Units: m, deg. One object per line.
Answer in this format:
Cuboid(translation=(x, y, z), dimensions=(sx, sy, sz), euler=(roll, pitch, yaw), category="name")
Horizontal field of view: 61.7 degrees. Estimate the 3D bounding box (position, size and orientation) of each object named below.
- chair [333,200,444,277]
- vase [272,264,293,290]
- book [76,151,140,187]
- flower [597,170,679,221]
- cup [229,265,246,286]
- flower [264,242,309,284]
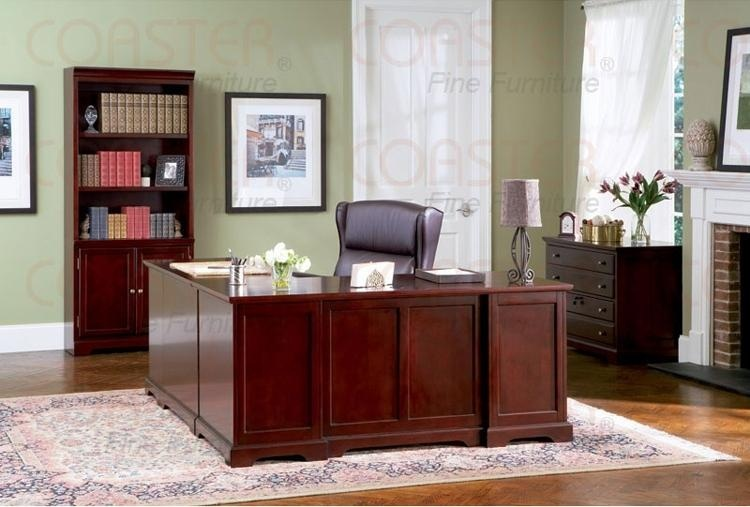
Cuboid(translation=(0.186, -0.077, 4.943), dimensions=(0.620, 0.850, 0.723), euler=(4, 0, 38), category="chair")
Cuboid(translation=(-0.555, 0.131, 3.725), dimensions=(0.137, 0.146, 0.137), euler=(1, 0, 0), category="vase")
Cuboid(translation=(-2.637, -0.835, 6.238), dimensions=(0.576, 0.349, 0.087), euler=(-1, 4, -19), category="book")
Cuboid(translation=(2.631, -0.606, 6.341), dimensions=(0.591, 0.492, 0.597), euler=(0, 2, 0), category="flower")
Cuboid(translation=(-0.838, 0.130, 3.793), dimensions=(0.117, 0.113, 0.101), euler=(2, 4, 12), category="cup")
Cuboid(translation=(-0.561, 0.062, 3.861), dimensions=(0.278, 0.263, 0.274), euler=(2, 1, -16), category="flower")
